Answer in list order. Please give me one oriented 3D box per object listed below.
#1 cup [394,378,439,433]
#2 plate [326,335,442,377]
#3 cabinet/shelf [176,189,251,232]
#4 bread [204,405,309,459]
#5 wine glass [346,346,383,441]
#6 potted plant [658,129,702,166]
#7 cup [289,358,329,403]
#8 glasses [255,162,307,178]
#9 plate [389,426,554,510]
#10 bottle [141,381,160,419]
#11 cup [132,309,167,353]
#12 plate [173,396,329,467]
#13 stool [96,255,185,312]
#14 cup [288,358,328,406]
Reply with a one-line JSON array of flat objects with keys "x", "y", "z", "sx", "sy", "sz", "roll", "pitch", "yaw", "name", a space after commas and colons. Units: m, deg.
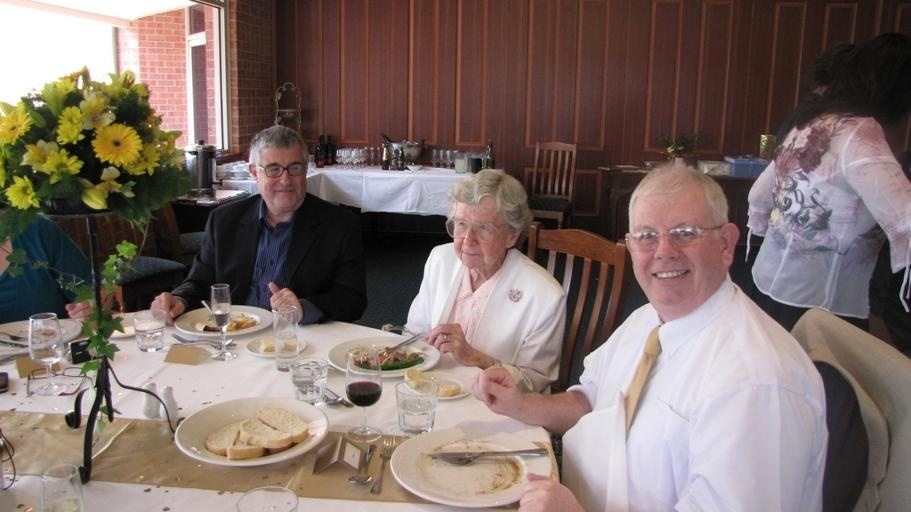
[{"x": -0.136, "y": 0.561, "z": 2.069, "sx": 0.139, "sy": 0.137, "sz": 0.139, "roll": 2, "pitch": -6, "yaw": 0, "name": "cup"}, {"x": -0.284, "y": 0.423, "z": 2.425, "sx": 0.229, "sy": 0.035, "sz": 0.232, "roll": -6, "pitch": 12, "yaw": -29, "name": "plate"}, {"x": -2.374, "y": -0.450, "z": 5.706, "sx": 0.516, "sy": 0.353, "sz": 0.635, "roll": 6, "pitch": 16, "yaw": 3, "name": "cabinet/shelf"}, {"x": -0.643, "y": 0.567, "z": 1.926, "sx": 0.185, "sy": 0.044, "sz": 0.175, "roll": 9, "pitch": 9, "yaw": 14, "name": "bread"}, {"x": -0.329, "y": 0.480, "z": 2.083, "sx": 0.117, "sy": 0.276, "sz": 0.293, "roll": -2, "pitch": 12, "yaw": -7, "name": "wine glass"}, {"x": 2.807, "y": -1.344, "z": 7.188, "sx": 0.462, "sy": 0.408, "sz": 0.860, "roll": 4, "pitch": 12, "yaw": 18, "name": "potted plant"}, {"x": -0.550, "y": 0.501, "z": 2.217, "sx": 0.170, "sy": 0.131, "sz": 0.152, "roll": -1, "pitch": -25, "yaw": -14, "name": "cup"}, {"x": -0.947, "y": -0.475, "z": 3.152, "sx": 0.265, "sy": 0.079, "sz": 0.124, "roll": -3, "pitch": 12, "yaw": -17, "name": "glasses"}, {"x": 0.064, "y": 0.688, "z": 1.882, "sx": 0.522, "sy": 0.130, "sz": 0.315, "roll": 3, "pitch": 11, "yaw": 14, "name": "plate"}, {"x": -1.102, "y": 0.516, "z": 2.079, "sx": 0.056, "sy": 0.122, "sz": 0.098, "roll": -7, "pitch": 14, "yaw": -28, "name": "bottle"}, {"x": -1.329, "y": 0.337, "z": 2.527, "sx": 0.202, "sy": 0.150, "sz": 0.197, "roll": -7, "pitch": -9, "yaw": -1, "name": "cup"}, {"x": -0.719, "y": 0.595, "z": 1.997, "sx": 0.288, "sy": 0.045, "sz": 0.272, "roll": 0, "pitch": 14, "yaw": -21, "name": "plate"}, {"x": -1.814, "y": 0.160, "z": 3.335, "sx": 0.359, "sy": 0.397, "sz": 0.344, "roll": -4, "pitch": 19, "yaw": -35, "name": "stool"}, {"x": -0.544, "y": 0.470, "z": 2.175, "sx": 0.168, "sy": 0.130, "sz": 0.152, "roll": -1, "pitch": 4, "yaw": -3, "name": "cup"}]
